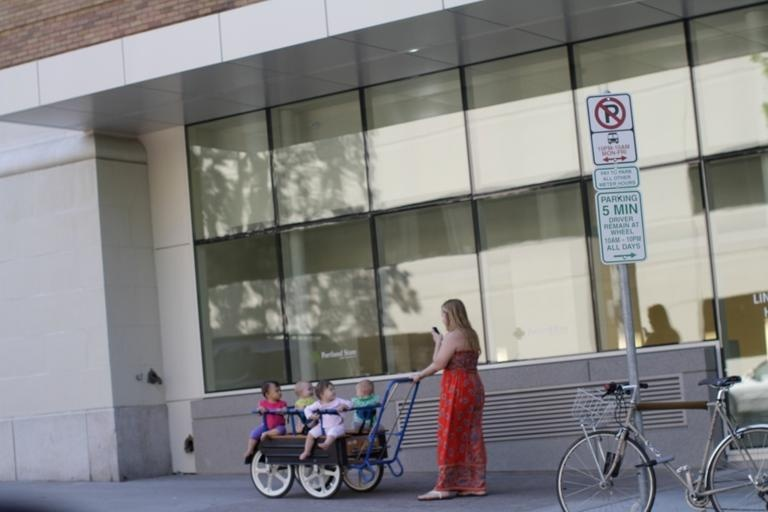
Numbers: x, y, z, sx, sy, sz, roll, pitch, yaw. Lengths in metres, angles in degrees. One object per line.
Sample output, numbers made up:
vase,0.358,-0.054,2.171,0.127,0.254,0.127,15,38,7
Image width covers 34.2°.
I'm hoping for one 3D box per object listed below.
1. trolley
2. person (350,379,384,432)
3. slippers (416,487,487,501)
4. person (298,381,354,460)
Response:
trolley,-0.804,2.976,19.980,2.773,1.840,1.742,-7,-7,40
person,-0.282,2.397,19.701,0.456,0.803,0.533,-4,-7,-2
slippers,1.041,3.649,18.844,1.083,0.193,0.343,2,-7,-21
person,-0.886,2.527,19.259,0.783,0.971,1.328,-2,11,6
